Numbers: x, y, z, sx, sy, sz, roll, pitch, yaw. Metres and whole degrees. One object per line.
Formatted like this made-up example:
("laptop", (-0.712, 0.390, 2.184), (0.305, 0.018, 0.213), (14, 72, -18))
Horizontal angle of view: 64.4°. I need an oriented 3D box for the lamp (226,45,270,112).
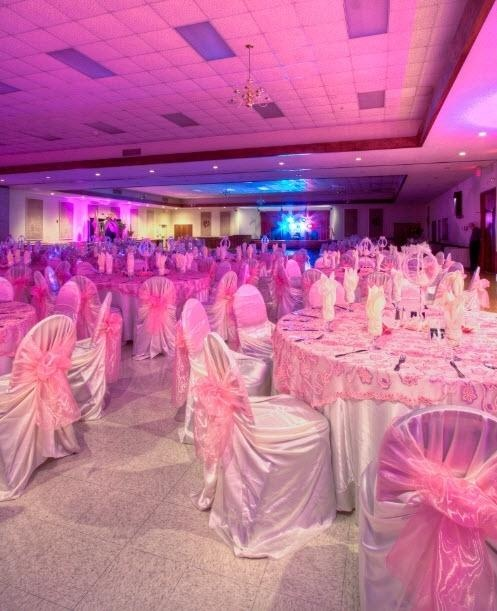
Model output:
("lamp", (-0.006, -3.265, 5.536), (0.310, 0.743, 0.437), (-6, 33, -8))
